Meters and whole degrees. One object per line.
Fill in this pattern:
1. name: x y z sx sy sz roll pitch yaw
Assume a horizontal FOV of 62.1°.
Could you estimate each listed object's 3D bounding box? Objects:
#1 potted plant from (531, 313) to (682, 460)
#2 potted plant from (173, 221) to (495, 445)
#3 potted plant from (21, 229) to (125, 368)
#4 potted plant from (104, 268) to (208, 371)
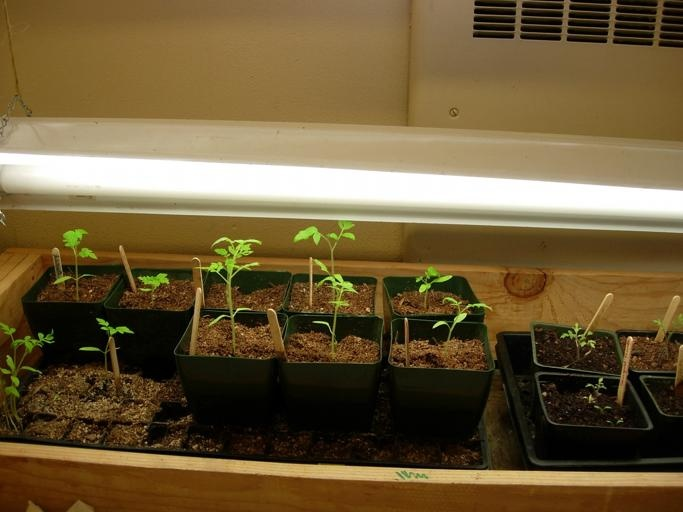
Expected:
1. potted plant: 0.705 0.409 1.672 0.255 0.100 0.333 1 20 5
2. potted plant: -0.014 0.199 1.739 0.925 0.601 0.338 2 9 1
3. potted plant: -0.903 0.130 1.935 0.299 0.361 0.266 -4 14 -18
4. potted plant: -0.620 0.210 1.976 0.300 0.210 0.332 3 16 -2
